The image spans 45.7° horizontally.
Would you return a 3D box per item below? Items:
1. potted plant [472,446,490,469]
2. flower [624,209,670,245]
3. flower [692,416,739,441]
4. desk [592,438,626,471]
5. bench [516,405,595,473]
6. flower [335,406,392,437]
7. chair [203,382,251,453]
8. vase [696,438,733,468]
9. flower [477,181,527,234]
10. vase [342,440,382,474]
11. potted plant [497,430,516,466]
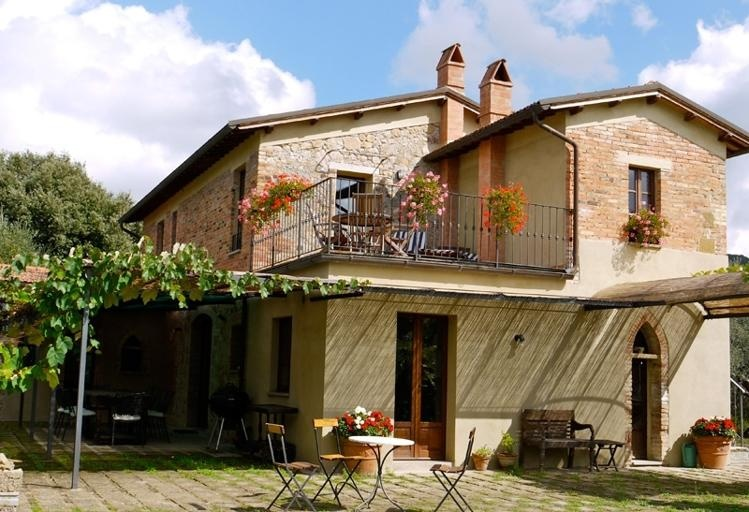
[{"bbox_3d":[2.468,4.693,20.566,0.445,0.471,0.450,0,-5,-3],"label":"potted plant"},{"bbox_3d":[6.648,-0.764,21.806,0.924,0.810,0.934,3,-5,4],"label":"flower"},{"bbox_3d":[8.366,4.260,22.016,0.695,0.412,0.694,2,-4,-12],"label":"flower"},{"bbox_3d":[5.504,4.683,21.105,0.817,0.660,0.728,4,-19,-10],"label":"desk"},{"bbox_3d":[4.256,4.256,20.617,1.549,1.268,0.912,6,-9,-24],"label":"bench"},{"bbox_3d":[-0.269,3.658,19.286,0.784,0.465,0.790,3,-6,-9],"label":"flower"},{"bbox_3d":[-3.540,3.907,21.797,0.977,1.431,0.970,2,-5,-31],"label":"chair"},{"bbox_3d":[8.358,4.870,21.859,0.750,0.581,0.758,3,-17,-5],"label":"vase"},{"bbox_3d":[3.145,-1.078,21.262,1.123,1.199,1.176,-2,-8,5],"label":"flower"},{"bbox_3d":[-0.266,4.422,19.500,0.783,0.636,0.832,-4,-14,21],"label":"vase"},{"bbox_3d":[3.125,4.537,20.666,0.473,0.708,0.506,10,-7,-43],"label":"potted plant"}]
